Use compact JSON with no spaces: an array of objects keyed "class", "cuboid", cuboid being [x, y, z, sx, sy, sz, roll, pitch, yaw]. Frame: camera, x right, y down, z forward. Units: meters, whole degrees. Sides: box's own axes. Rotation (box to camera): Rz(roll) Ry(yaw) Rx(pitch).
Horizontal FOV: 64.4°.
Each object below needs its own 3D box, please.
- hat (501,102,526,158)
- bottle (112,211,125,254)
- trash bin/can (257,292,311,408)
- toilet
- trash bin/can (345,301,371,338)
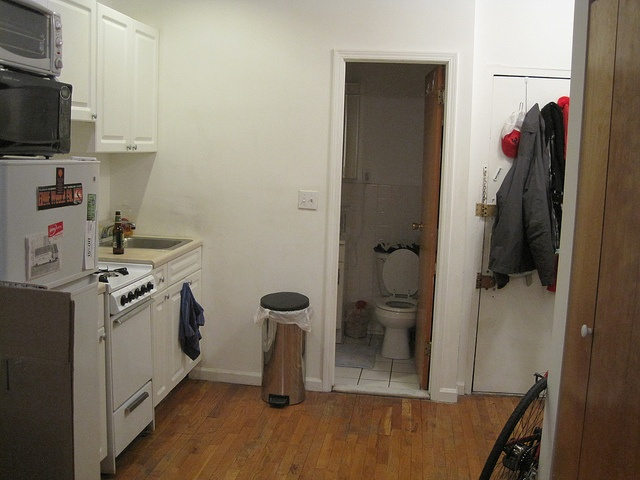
[{"class":"hat","cuboid":[1.348,-0.751,3.512,0.161,0.391,0.115,1,10,-2]},{"class":"bottle","cuboid":[-1.316,-0.060,3.281,0.065,0.268,0.236,-3,12,-23]},{"class":"trash bin/can","cuboid":[-0.258,0.800,3.588,0.344,0.737,0.211,0,10,-8]},{"class":"toilet","cuboid":[0.680,0.565,4.567,0.362,0.874,0.535,3,11,10]},{"class":"trash bin/can","cuboid":[0.359,0.778,4.964,0.265,0.364,0.305,1,-2,9]}]
